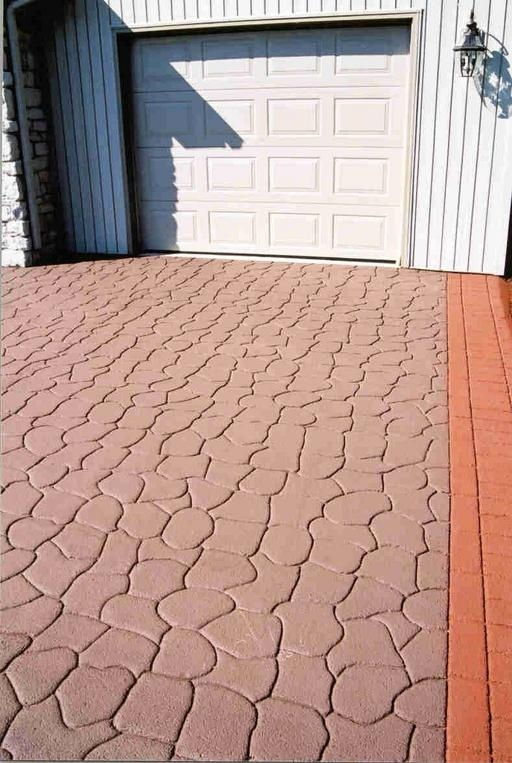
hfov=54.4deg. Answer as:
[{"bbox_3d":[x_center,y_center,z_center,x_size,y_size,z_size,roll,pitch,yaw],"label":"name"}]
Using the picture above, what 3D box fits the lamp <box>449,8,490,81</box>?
[{"bbox_3d":[2.573,-4.066,5.959,0.369,0.738,0.385,6,15,25],"label":"lamp"}]
